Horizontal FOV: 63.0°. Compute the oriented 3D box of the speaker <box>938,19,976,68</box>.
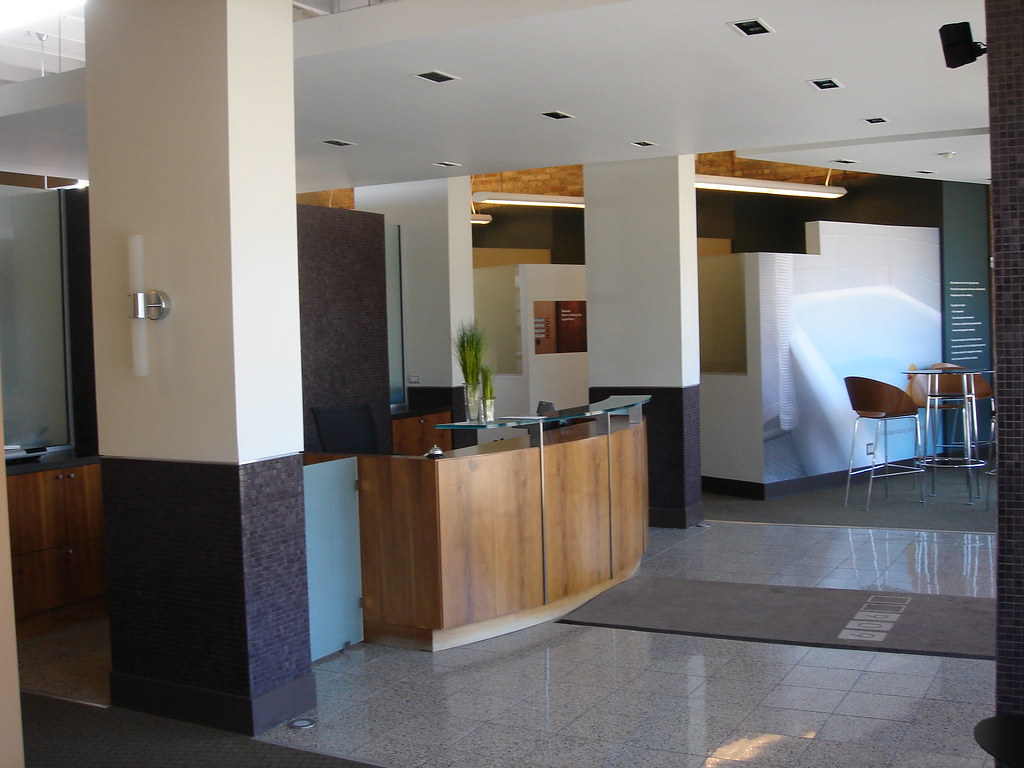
[{"bbox_3d":[2.314,-1.783,4.329,0.170,0.247,0.289,-1,6,28],"label":"speaker"}]

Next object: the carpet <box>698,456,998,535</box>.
[{"bbox_3d":[3.649,1.191,8.979,3.073,0.245,2.803,-2,6,14],"label":"carpet"}]

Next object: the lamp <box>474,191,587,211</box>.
[{"bbox_3d":[0.246,-2.645,11.953,1.355,0.097,0.187,1,26,-44],"label":"lamp"}]

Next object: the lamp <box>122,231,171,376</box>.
[{"bbox_3d":[-1.877,-0.410,4.299,0.294,0.736,0.102,-2,5,16],"label":"lamp"}]

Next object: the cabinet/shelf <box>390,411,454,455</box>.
[{"bbox_3d":[-0.957,0.487,8.558,0.201,0.489,0.528,1,4,34],"label":"cabinet/shelf"}]
